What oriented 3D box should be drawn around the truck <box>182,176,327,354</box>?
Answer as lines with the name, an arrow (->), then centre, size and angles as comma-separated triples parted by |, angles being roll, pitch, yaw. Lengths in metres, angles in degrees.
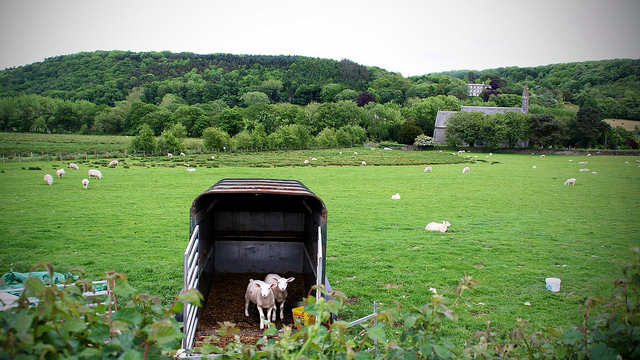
truck -> -3.707, 3.970, 21.674 | 6.428, 7.910, 5.098 | -1, 4, -16

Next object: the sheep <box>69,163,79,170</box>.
sheep -> -31.676, -1.806, 51.766 | 0.927, 0.795, 1.518 | -2, 4, -34

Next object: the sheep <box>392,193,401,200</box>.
sheep -> 6.978, 1.489, 36.709 | 0.818, 0.711, 0.492 | 1, -1, 7

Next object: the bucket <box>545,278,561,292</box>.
bucket -> 12.995, 5.814, 22.394 | 0.712, 0.477, 0.722 | 3, 3, 0

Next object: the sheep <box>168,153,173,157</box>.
sheep -> -29.581, -5.017, 78.994 | 0.922, 0.589, 0.854 | 1, -2, -9

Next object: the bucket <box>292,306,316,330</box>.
bucket -> -0.864, 6.778, 19.576 | 0.579, 0.969, 1.712 | -2, 4, -26

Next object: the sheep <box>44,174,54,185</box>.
sheep -> -27.539, -0.061, 40.792 | 1.221, 1.125, 2.471 | 1, 1, -35

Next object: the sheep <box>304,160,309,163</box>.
sheep -> -2.267, -3.118, 66.334 | 0.862, 0.451, 1.082 | 3, 3, 2

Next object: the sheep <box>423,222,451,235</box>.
sheep -> 8.256, 3.368, 28.242 | 1.442, 0.753, 0.736 | 1, 3, 11

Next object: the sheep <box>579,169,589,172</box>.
sheep -> 36.061, -1.381, 54.529 | 1.195, 0.418, 0.336 | 3, 1, -23

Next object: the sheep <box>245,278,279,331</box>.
sheep -> -2.942, 6.336, 20.598 | 1.161, 2.362, 1.477 | -3, 5, -42

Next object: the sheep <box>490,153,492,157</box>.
sheep -> 36.622, -5.509, 86.149 | 0.882, 0.876, 0.835 | -2, 9, 13

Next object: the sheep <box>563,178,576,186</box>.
sheep -> 26.790, 0.207, 43.162 | 0.929, 0.674, 1.682 | 2, 4, 30

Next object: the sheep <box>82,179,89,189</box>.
sheep -> -22.858, 0.315, 39.111 | 0.426, 0.791, 1.116 | -2, 4, -31
